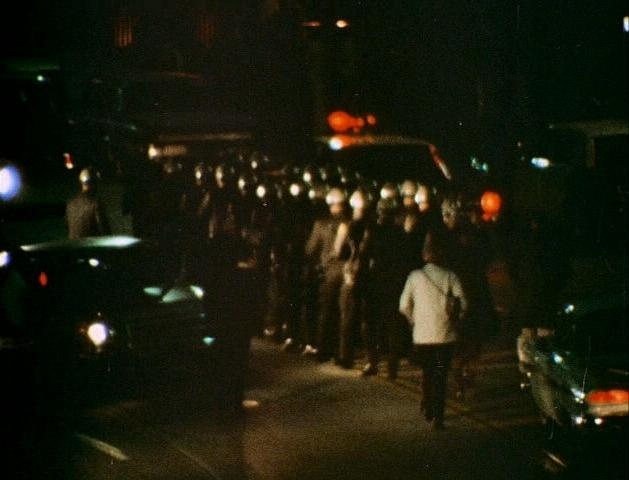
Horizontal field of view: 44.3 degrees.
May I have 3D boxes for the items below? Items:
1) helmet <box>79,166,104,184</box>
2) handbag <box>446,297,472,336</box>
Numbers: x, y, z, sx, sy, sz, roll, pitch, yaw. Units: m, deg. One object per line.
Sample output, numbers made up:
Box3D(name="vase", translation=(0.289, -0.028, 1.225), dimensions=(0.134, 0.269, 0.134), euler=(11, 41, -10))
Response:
Box3D(name="helmet", translation=(-1.348, -0.405, 4.688), dimensions=(0.127, 0.111, 0.096), euler=(-23, 24, -26))
Box3D(name="handbag", translation=(0.826, 0.422, 4.425), dimensions=(0.137, 0.197, 0.049), euler=(-1, 5, 2))
